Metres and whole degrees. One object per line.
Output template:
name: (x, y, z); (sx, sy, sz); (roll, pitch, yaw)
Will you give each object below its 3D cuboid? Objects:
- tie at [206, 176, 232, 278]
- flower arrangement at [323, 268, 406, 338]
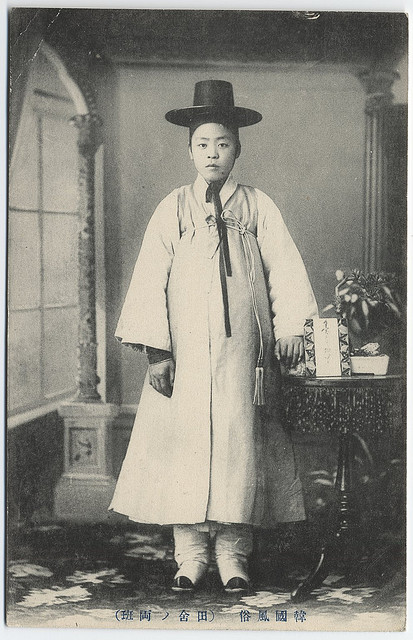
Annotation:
tie: (0.049, -0.333, 3.616); (0.085, 0.348, 0.033); (-5, 4, 22)
flower arrangement: (0.567, -0.086, 3.631); (0.224, 0.262, 0.105); (-9, 13, -4)
